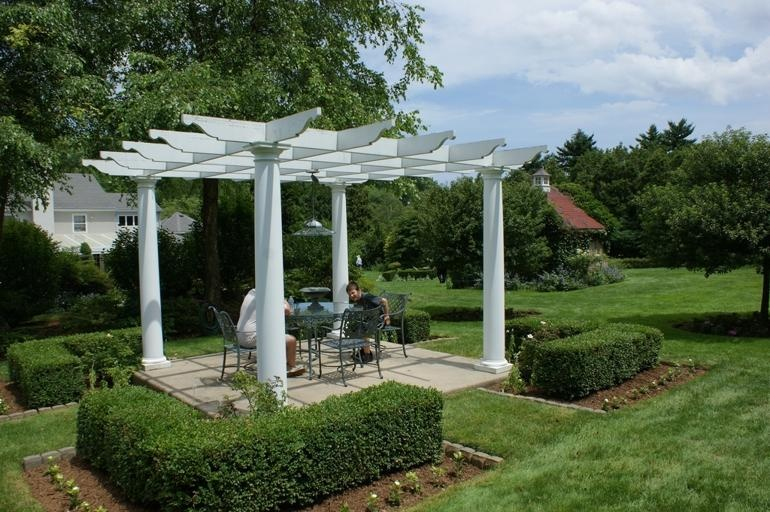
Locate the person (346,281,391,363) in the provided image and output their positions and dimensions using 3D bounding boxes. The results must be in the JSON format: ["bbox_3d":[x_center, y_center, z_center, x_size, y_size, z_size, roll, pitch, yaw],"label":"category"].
[{"bbox_3d":[-0.316,1.521,16.570,1.157,1.910,1.153,9,-25,-34],"label":"person"}]

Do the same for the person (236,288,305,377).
[{"bbox_3d":[-2.432,1.704,15.164,1.314,1.981,1.060,-3,2,-25],"label":"person"}]

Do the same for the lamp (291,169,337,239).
[{"bbox_3d":[-1.674,-1.272,16.810,1.203,1.510,1.208,-1,7,-29],"label":"lamp"}]
